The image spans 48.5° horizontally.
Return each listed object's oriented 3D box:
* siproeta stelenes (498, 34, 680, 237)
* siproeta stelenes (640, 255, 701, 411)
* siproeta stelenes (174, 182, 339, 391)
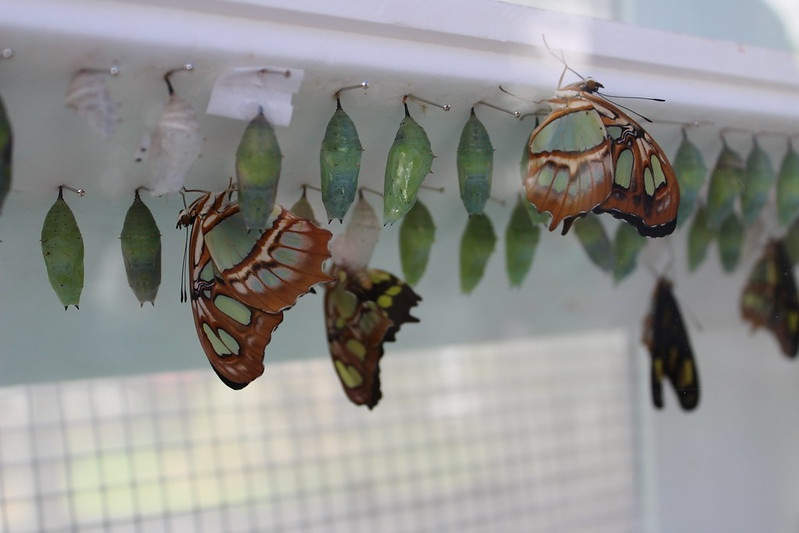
[{"bbox_3d":[0.385,-0.319,1.953,0.179,0.277,0.277,29,36,10],"label":"siproeta stelenes"},{"bbox_3d":[0.652,0.166,2.133,0.033,0.341,0.129,1,-17,-18],"label":"siproeta stelenes"},{"bbox_3d":[-0.357,0.034,2.004,0.388,0.346,0.250,-37,-24,-15],"label":"siproeta stelenes"}]
